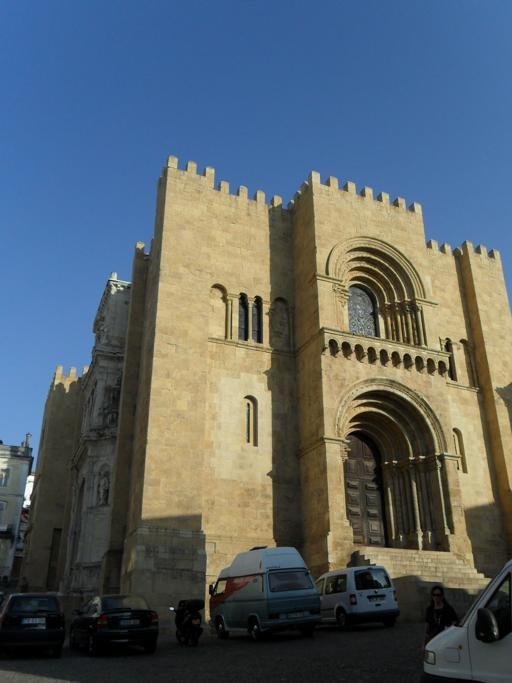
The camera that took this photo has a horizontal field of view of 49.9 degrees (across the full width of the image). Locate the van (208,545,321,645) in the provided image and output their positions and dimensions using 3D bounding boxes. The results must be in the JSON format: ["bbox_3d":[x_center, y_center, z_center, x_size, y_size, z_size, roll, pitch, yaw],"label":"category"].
[{"bbox_3d":[-0.142,6.090,13.138,1.746,2.035,3.159,19,-42,-22],"label":"van"}]

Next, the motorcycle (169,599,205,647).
[{"bbox_3d":[-1.443,6.703,12.988,0.703,0.861,1.408,9,-40,-22],"label":"motorcycle"}]

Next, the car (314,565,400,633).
[{"bbox_3d":[2.449,6.409,13.871,1.811,1.408,1.152,-22,-34,37],"label":"car"}]
